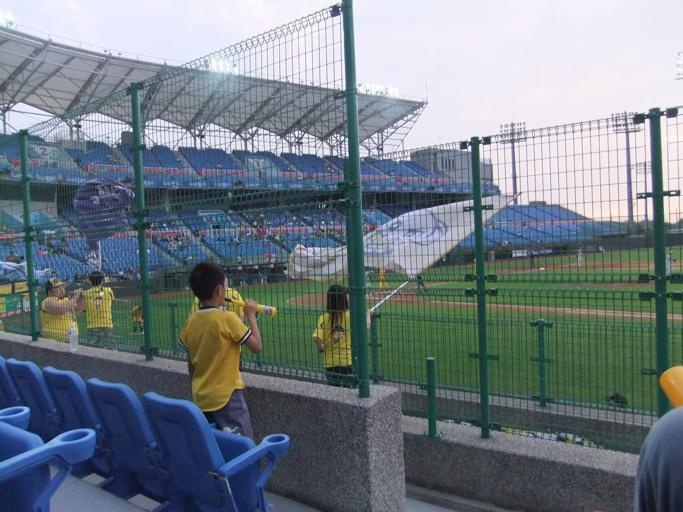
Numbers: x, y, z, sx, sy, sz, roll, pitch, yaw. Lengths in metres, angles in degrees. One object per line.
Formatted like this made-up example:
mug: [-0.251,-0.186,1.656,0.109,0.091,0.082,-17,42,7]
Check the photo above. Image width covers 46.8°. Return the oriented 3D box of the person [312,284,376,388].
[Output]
person: [-0.090,0.912,7.462,0.395,1.285,0.333,-6,13,-25]

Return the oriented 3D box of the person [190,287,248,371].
person: [-1.050,0.664,7.354,0.572,0.873,0.282,3,5,33]

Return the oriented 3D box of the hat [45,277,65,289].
hat: [-3.431,0.321,9.424,0.127,0.082,0.200,3,2,40]
